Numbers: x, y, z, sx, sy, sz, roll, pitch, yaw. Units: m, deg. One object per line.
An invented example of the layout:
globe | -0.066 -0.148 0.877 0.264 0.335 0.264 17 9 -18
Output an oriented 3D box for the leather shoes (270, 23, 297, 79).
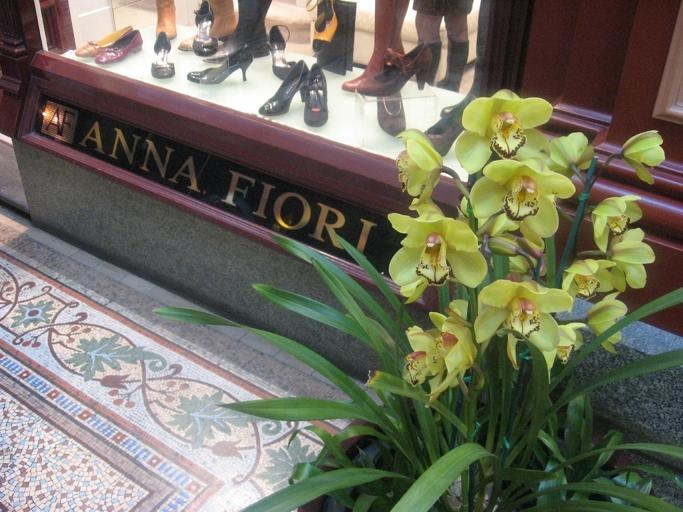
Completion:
leather shoes | -0.232 -0.770 1.968 0.082 0.210 0.087 -14 3 1

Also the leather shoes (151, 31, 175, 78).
leather shoes | -0.741 -0.816 2.173 0.084 0.080 0.215 -2 75 -9

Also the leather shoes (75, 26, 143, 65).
leather shoes | -0.972 -0.878 2.212 0.226 0.078 0.159 -20 66 -6

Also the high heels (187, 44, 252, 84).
high heels | -0.443 -0.768 2.086 0.313 0.161 0.102 0 43 3
